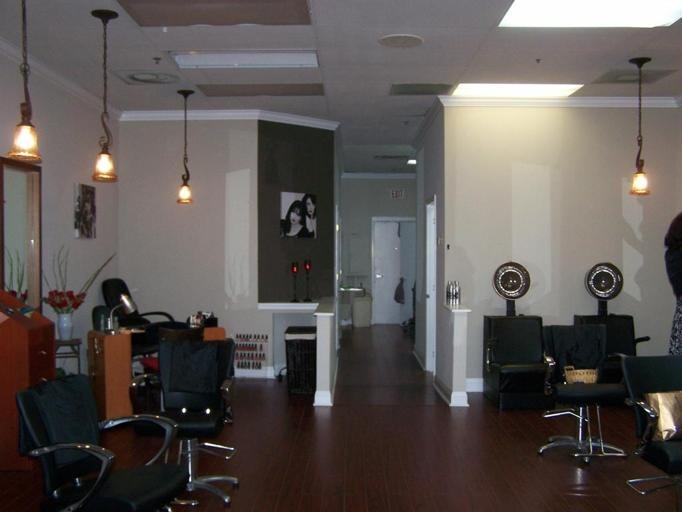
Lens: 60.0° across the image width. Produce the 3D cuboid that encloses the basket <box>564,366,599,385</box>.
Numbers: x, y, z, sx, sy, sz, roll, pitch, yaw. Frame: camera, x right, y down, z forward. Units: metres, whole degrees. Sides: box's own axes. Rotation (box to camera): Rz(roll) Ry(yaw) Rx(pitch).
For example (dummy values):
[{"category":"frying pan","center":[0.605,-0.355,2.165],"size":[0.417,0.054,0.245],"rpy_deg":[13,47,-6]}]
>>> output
[{"category":"basket","center":[2.678,1.340,6.606],"size":[0.259,0.173,0.215],"rpy_deg":[-2,-5,14]}]

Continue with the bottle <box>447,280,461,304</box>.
[{"category":"bottle","center":[1.469,0.481,7.748],"size":[0.193,0.292,0.330],"rpy_deg":[1,5,12]}]

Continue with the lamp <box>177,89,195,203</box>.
[{"category":"lamp","center":[-2.166,-1.459,8.171],"size":[0.239,1.482,1.005],"rpy_deg":[-2,5,-16]}]

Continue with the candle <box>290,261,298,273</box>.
[{"category":"candle","center":[-0.687,0.166,8.693],"size":[0.087,0.149,0.143],"rpy_deg":[0,0,2]}]

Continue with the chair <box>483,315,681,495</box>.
[{"category":"chair","center":[2.497,1.437,6.625],"size":[1.197,1.389,1.616],"rpy_deg":[0,-11,-2]}]

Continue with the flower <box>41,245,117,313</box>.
[{"category":"flower","center":[-3.290,0.278,7.297],"size":[0.657,0.865,0.701],"rpy_deg":[1,5,-25]}]
